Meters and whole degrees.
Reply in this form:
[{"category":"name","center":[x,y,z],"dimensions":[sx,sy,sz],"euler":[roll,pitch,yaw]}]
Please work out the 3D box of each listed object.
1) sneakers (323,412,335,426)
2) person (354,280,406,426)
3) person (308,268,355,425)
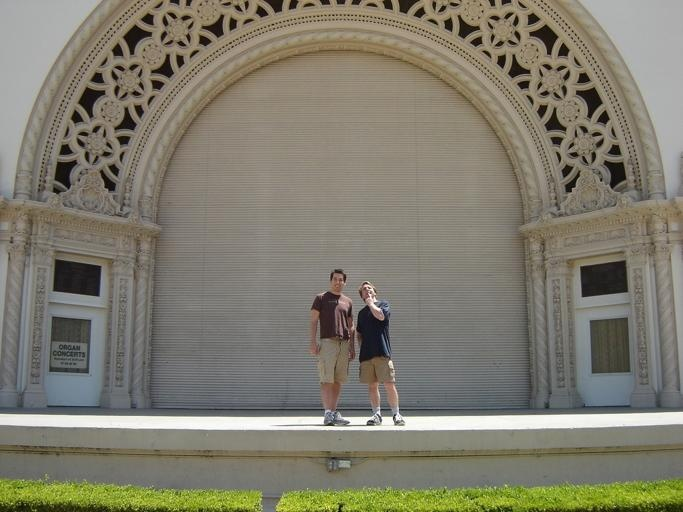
[{"category":"sneakers","center":[-0.204,2.770,18.623],"dimensions":[0.177,0.239,0.193],"euler":[-3,-11,-1]},{"category":"person","center":[0.639,1.693,19.072],"dimensions":[0.689,2.549,0.820],"euler":[-2,-11,-2]},{"category":"person","center":[-0.155,1.564,18.997],"dimensions":[0.750,2.764,0.585],"euler":[-2,-11,-3]}]
